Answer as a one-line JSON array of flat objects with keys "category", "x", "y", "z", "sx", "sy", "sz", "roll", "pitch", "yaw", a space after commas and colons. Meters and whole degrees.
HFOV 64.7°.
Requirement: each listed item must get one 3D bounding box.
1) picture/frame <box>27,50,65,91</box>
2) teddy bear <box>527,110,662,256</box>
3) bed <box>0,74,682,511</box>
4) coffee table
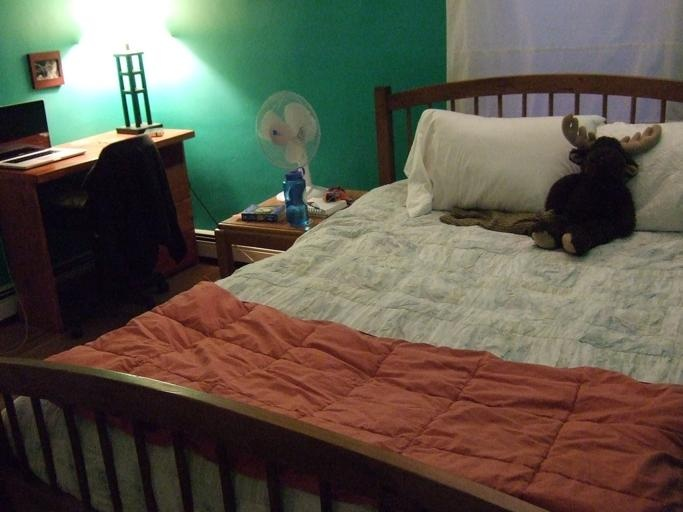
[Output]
[{"category": "picture/frame", "x": -1.704, "y": -1.066, "z": 3.085, "sx": 0.018, "sy": 0.214, "sz": 0.243, "roll": 9, "pitch": 16, "yaw": 27}, {"category": "teddy bear", "x": 0.973, "y": -0.291, "z": 2.057, "sx": 0.351, "sy": 0.519, "sz": 0.325, "roll": 11, "pitch": 12, "yaw": 20}, {"category": "bed", "x": 0.006, "y": 0.045, "z": 1.871, "sx": 1.223, "sy": 0.828, "sz": 1.303, "roll": 10, "pitch": 27, "yaw": 31}, {"category": "coffee table", "x": -0.321, "y": -0.141, "z": 2.917, "sx": 0.620, "sy": 0.617, "sz": 0.472, "roll": 2, "pitch": 19, "yaw": 12}]
